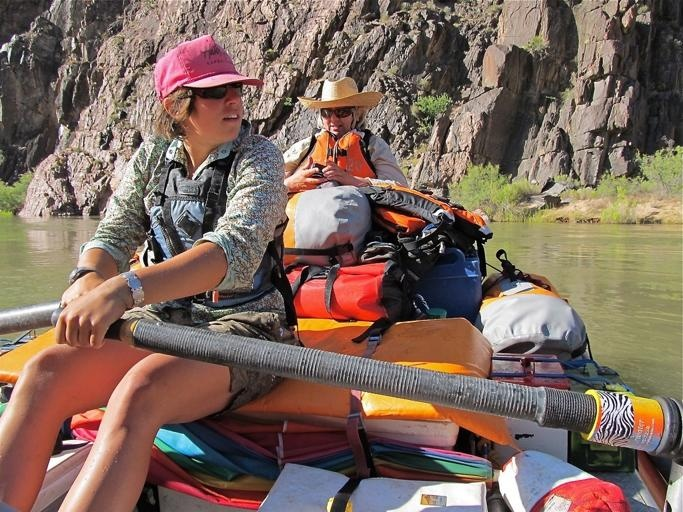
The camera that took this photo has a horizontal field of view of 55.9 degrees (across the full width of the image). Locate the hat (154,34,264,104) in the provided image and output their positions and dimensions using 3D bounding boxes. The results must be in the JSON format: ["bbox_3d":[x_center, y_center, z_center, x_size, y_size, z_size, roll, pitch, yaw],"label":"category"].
[{"bbox_3d":[-0.501,-0.678,2.402,0.320,0.148,0.244,-3,14,32],"label":"hat"}]

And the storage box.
[{"bbox_3d":[0.771,0.598,2.676,0.346,0.387,0.452,10,4,11],"label":"storage box"}]

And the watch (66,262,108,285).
[{"bbox_3d":[-0.932,0.063,2.303,0.071,0.043,0.091,-8,9,-12],"label":"watch"}]

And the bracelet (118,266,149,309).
[{"bbox_3d":[-0.647,0.105,2.024,0.065,0.113,0.114,-20,-16,-17],"label":"bracelet"}]

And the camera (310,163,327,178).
[{"bbox_3d":[-0.154,-0.561,4.227,0.076,0.076,0.108,9,4,-9],"label":"camera"}]
